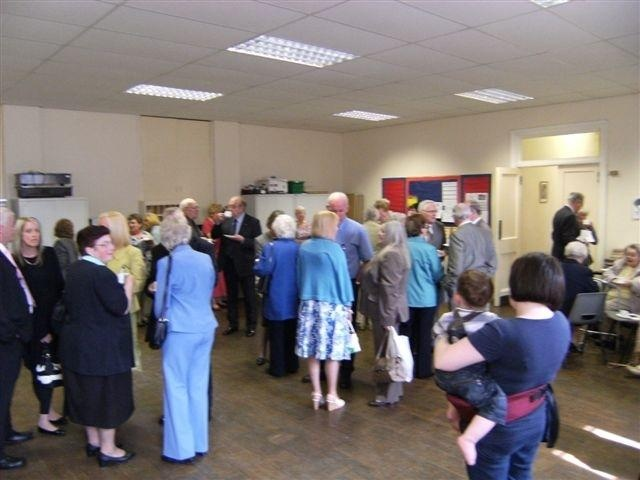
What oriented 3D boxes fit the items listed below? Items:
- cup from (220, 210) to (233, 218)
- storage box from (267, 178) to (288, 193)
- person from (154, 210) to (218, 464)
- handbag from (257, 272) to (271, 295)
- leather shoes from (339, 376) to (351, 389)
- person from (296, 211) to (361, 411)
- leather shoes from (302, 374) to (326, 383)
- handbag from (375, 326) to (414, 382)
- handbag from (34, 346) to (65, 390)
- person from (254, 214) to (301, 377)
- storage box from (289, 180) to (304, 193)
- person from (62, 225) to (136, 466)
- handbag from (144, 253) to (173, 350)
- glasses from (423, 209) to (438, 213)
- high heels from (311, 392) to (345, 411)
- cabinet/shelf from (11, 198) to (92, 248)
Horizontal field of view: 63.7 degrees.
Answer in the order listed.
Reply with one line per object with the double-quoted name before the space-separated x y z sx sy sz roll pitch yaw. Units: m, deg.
"cup" -1.350 -0.367 7.439 0.175 0.151 0.131 0 -7 -3
"storage box" -0.826 -1.073 10.207 0.527 0.333 0.304 0 -1 -45
"person" -1.020 0.770 3.962 0.405 1.920 0.435 1 12 9
"handbag" -0.598 0.452 5.302 0.102 0.232 0.203 -8 13 -31
"leather shoes" 0.254 1.448 5.196 0.081 0.088 0.138 3 7 6
"person" 0.070 0.661 4.739 0.591 1.821 0.447 1 12 7
"leather shoes" -0.084 1.454 5.392 0.261 0.098 0.089 4 -2 -11
"handbag" 0.663 1.029 4.594 0.321 0.480 0.171 1 12 6
"handbag" -2.083 1.033 4.151 0.256 0.285 0.342 0 1 -10
"person" -0.436 0.622 5.295 0.456 1.723 0.468 -1 12 -3
"storage box" -0.502 -1.088 10.506 0.314 0.207 0.263 0 0 -14
"person" -1.676 0.647 3.829 0.540 1.475 0.392 -1 12 -5
"handbag" -1.202 0.486 3.865 0.230 0.739 0.331 -5 13 -20
"glasses" 1.293 -0.343 6.094 0.105 0.030 0.105 -3 9 -28
"high heels" 0.087 1.506 4.783 0.272 0.097 0.152 -2 3 -44
"cabinet/shelf" -3.185 -0.226 6.034 0.802 0.671 0.296 -2 0 -42
